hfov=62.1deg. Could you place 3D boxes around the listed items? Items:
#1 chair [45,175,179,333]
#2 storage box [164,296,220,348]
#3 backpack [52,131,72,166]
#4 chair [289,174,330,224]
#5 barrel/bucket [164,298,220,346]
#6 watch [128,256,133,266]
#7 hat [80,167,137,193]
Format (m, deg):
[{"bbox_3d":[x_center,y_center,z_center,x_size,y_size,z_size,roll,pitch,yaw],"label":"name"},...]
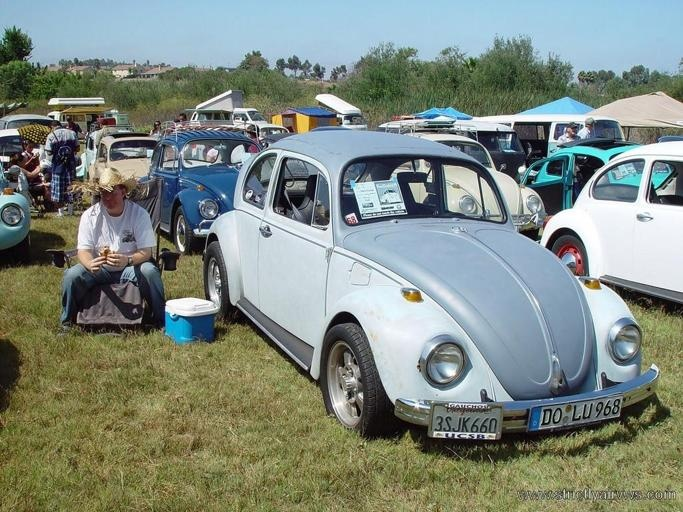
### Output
[{"bbox_3d":[-2.873,-0.177,7.287,1.399,1.765,2.595,-1,10,-17],"label":"chair"},{"bbox_3d":[-1.675,0.721,6.348,0.425,0.419,0.515,0,1,-35],"label":"storage box"},{"bbox_3d":[-6.469,-2.432,13.136,0.440,0.640,0.603,-1,7,-31],"label":"backpack"},{"bbox_3d":[-0.312,-0.586,5.688,0.355,0.515,0.320,17,33,37],"label":"chair"},{"bbox_3d":[-1.669,0.731,6.336,0.422,0.414,0.514,0,1,-35],"label":"barrel/bucket"},{"bbox_3d":[-2.413,0.067,6.483,0.060,0.104,0.101,2,13,-23],"label":"watch"},{"bbox_3d":[-2.670,-0.851,6.588,0.474,0.221,0.491,-6,2,-15],"label":"hat"}]
